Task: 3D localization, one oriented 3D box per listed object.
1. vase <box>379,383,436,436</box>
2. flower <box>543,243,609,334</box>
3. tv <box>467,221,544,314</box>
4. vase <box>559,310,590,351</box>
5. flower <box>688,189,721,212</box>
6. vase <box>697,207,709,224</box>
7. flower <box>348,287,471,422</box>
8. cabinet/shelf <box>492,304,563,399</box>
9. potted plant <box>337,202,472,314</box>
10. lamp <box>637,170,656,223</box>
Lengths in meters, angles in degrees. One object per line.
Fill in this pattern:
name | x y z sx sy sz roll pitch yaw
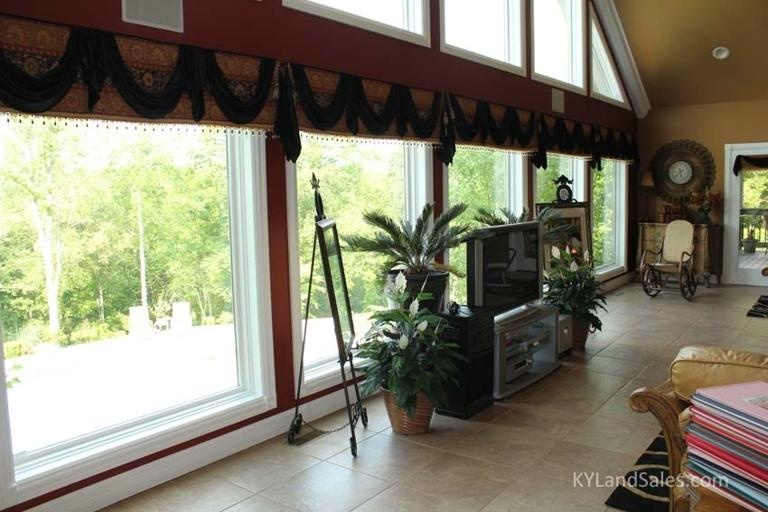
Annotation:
vase | 0.218 1.427 5.214 0.409 0.300 0.422 0 -1 0
flower | 2.346 0.449 7.089 0.895 0.981 0.843 11 -1 21
tv | 1.267 0.144 5.963 0.121 0.695 0.961 3 6 40
vase | 2.186 0.918 6.906 0.496 0.416 0.479 -3 -2 44
flower | 6.131 -1.070 10.783 0.438 0.177 0.427 11 -24 -40
vase | 6.084 -0.805 10.751 0.249 0.326 0.602 4 12 29
flower | 0.270 1.000 5.252 0.998 1.360 1.112 6 13 4
cabinet/shelf | 1.441 0.981 6.170 1.201 0.717 0.565 -11 13 -43
potted plant | 0.423 0.094 5.767 1.152 1.172 1.087 -6 -3 -5
lamp | 5.331 -1.198 11.409 0.378 1.011 0.512 3 11 25
